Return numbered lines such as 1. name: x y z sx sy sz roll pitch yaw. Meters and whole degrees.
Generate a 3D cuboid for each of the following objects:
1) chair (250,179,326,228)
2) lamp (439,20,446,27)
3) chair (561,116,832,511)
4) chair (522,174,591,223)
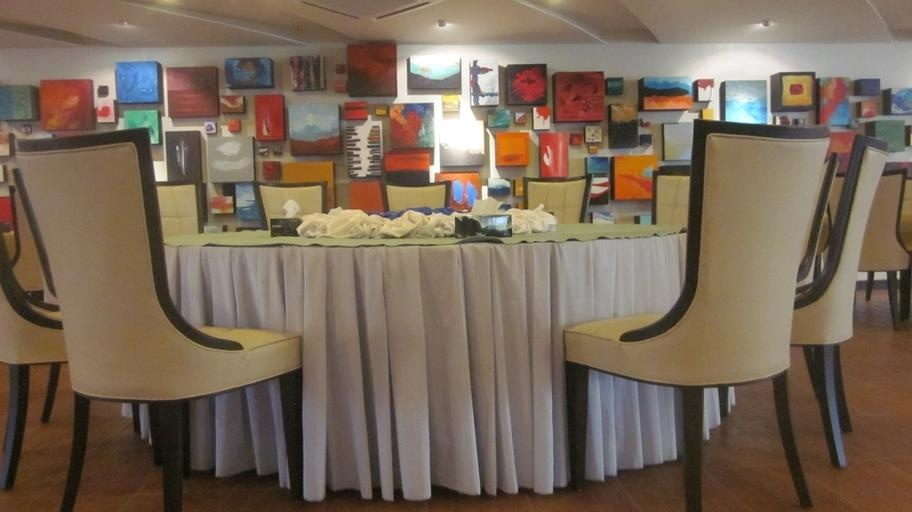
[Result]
1. chair: -1.557 -0.500 6.868 0.492 0.590 0.499 -3 -3 -16
2. lamp: -0.158 -2.485 8.032 0.096 0.049 0.141 -1 11 0
3. chair: 1.497 0.341 4.604 1.488 2.313 0.676 1 13 9
4. chair: 0.929 -0.483 6.873 0.477 0.619 0.520 -1 -7 10
